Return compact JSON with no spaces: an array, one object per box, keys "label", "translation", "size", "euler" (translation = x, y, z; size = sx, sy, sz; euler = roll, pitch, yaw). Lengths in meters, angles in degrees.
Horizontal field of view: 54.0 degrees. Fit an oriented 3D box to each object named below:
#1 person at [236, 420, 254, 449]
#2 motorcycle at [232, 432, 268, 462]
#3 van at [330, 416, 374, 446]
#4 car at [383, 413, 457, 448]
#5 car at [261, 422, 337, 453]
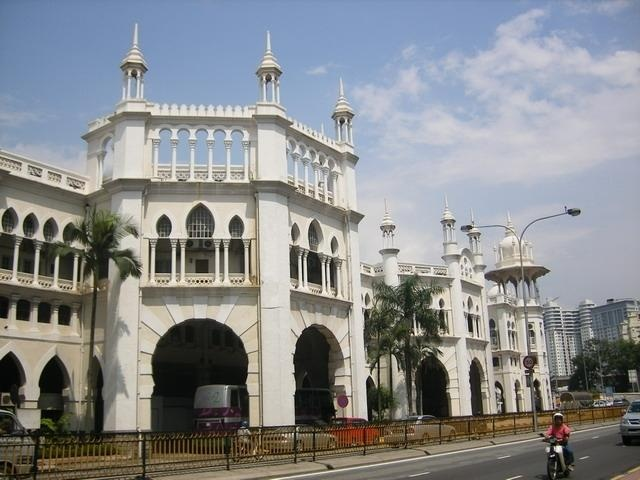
[{"label":"person","translation":[-3.512,9.216,29.127],"size":[0.656,1.003,1.240],"euler":[-1,-16,-6]},{"label":"motorcycle","translation":[-3.343,9.555,29.082],"size":[0.111,1.143,1.466],"euler":[-7,-14,32]},{"label":"van","translation":[1.526,10.229,33.445],"size":[2.553,1.495,1.564],"euler":[6,-12,-44]},{"label":"car","translation":[5.722,11.097,36.271],"size":[0.922,1.398,5.910],"euler":[-16,-21,40]},{"label":"car","translation":[-0.959,9.743,30.752],"size":[2.658,0.899,1.608],"euler":[9,-23,-25]}]
